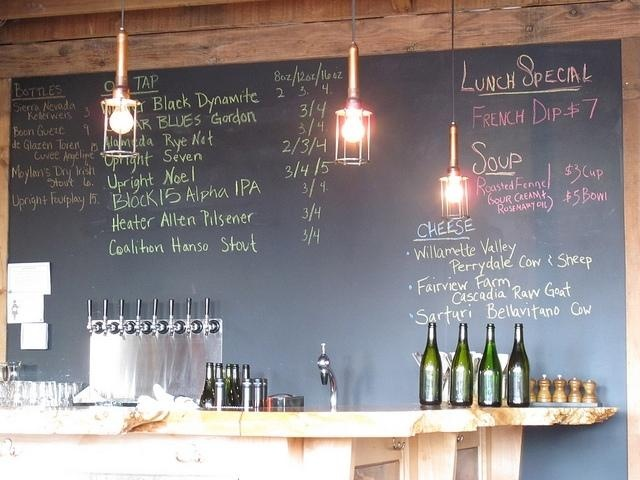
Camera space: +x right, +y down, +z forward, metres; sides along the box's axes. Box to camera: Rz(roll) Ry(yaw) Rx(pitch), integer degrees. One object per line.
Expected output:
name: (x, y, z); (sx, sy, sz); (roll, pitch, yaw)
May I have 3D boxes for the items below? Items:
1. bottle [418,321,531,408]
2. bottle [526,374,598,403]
bottle: (0.798, 0.654, 5.402); (0.569, 0.440, 0.372); (-2, -9, 3)
bottle: (1.408, 0.873, 6.017); (0.241, 0.110, 0.248); (0, -4, 0)
